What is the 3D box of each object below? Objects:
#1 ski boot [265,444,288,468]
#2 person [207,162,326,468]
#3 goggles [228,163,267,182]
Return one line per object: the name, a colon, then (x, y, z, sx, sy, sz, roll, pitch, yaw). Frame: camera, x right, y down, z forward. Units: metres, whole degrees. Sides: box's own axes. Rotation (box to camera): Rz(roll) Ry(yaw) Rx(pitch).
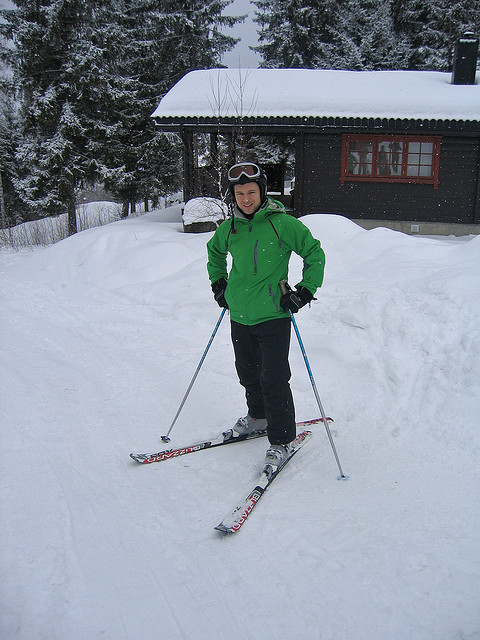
ski boot: (0.207, 0.783, 3.312, 0.102, 0.101, 0.154, 4, 17, 22)
person: (0.175, -0.053, 3.418, 0.451, 1.734, 0.745, -10, 17, -22)
goggles: (0.037, -0.814, 3.119, 0.201, 0.097, 0.124, -4, 16, -4)
